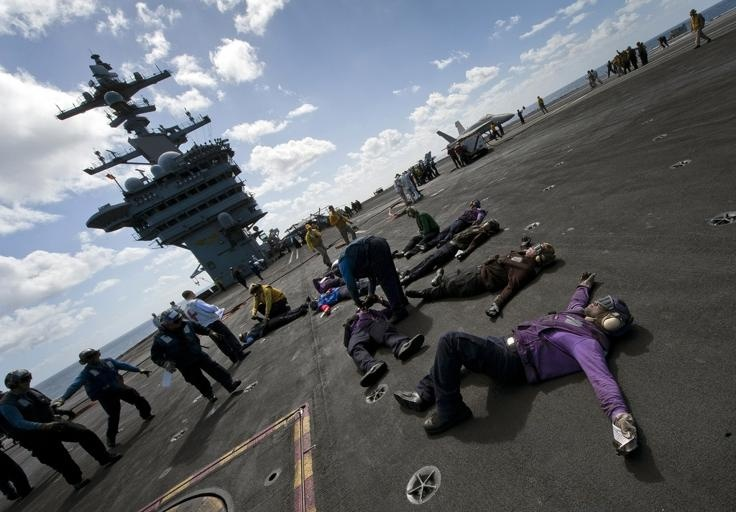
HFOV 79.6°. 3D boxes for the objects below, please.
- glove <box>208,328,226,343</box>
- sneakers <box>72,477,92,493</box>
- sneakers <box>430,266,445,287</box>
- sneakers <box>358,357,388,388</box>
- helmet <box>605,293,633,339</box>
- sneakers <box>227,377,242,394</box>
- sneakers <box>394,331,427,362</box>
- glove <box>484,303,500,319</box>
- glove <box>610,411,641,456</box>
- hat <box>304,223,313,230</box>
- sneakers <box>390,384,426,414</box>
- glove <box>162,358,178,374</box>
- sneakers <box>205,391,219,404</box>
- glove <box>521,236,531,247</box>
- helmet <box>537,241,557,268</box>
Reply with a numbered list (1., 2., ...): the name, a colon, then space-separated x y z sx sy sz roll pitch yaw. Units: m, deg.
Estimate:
1. glove: -3.940 2.049 11.255 0.385 0.367 0.353 2 8 20
2. sneakers: -6.021 4.790 9.237 0.311 0.105 0.196 -18 0 -23
3. sneakers: 1.571 0.464 9.390 0.229 0.184 0.533 -18 36 55
4. sneakers: 0.095 1.993 7.476 0.622 0.270 0.282 -38 35 1
5. helmet: 3.447 0.857 6.037 0.421 0.448 0.337 20 16 14
6. sneakers: -3.078 2.969 10.109 0.383 0.260 0.150 -46 17 -8
7. sneakers: 0.728 1.587 7.529 0.668 0.289 0.279 -34 18 -9
8. glove: 2.122 0.941 7.453 0.277 0.097 0.180 -15 32 -30
9. glove: 3.077 2.123 5.255 0.313 0.303 0.329 -26 12 24
10. hat: -2.165 -1.011 15.639 0.310 0.277 0.305 -3 6 3
11. sneakers: 0.650 2.171 6.685 0.599 0.238 0.265 11 34 41
12. glove: -4.276 2.409 9.439 0.234 0.294 0.294 -21 47 28
13. sneakers: -3.612 3.249 10.085 0.431 0.187 0.155 -19 47 55
14. glove: 3.193 -0.263 8.864 0.198 0.263 0.098 2 -12 42
15. helmet: 3.324 -0.016 8.073 0.347 0.437 0.445 -21 -5 26
